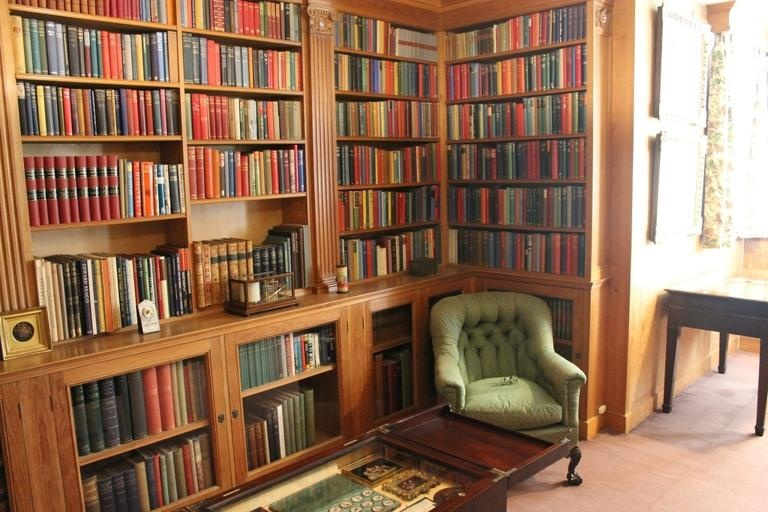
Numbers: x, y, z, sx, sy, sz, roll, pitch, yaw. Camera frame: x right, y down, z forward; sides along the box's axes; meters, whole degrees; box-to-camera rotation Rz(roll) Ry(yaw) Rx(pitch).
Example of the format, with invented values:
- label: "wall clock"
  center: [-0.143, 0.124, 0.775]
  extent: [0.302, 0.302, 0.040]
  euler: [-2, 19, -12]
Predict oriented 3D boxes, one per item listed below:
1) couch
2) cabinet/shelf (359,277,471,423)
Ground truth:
- label: "couch"
  center: [0.830, 0.905, 4.391]
  extent: [1.214, 0.962, 1.150]
  euler: [-14, 18, -30]
- label: "cabinet/shelf"
  center: [0.199, 0.707, 4.522]
  extent: [0.424, 0.905, 1.185]
  euler: [9, 16, 41]
